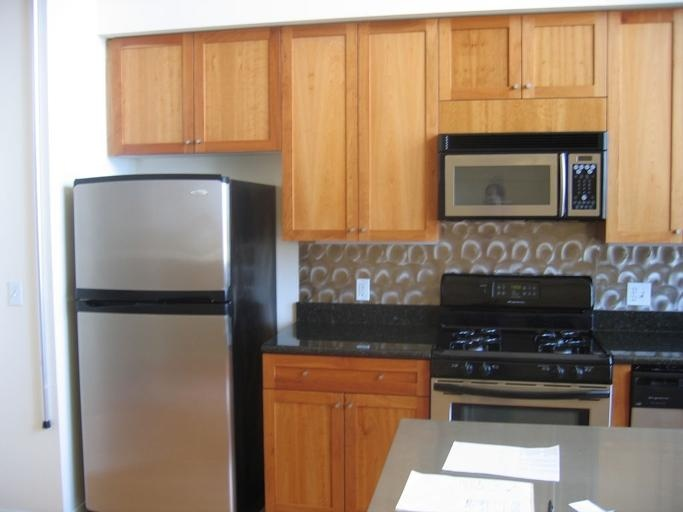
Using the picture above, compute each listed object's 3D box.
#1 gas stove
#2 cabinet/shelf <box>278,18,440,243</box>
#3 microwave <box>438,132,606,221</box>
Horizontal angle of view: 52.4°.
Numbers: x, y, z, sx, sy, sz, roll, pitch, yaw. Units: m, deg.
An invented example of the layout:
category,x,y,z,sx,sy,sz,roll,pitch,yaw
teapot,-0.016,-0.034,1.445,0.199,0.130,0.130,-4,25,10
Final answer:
category,x,y,z,sx,sy,sz,roll,pitch,yaw
gas stove,0.917,0.437,3.651,0.826,0.057,0.430,2,6,9
cabinet/shelf,0.092,-0.644,4.000,0.863,1.316,0.593,0,-10,0
microwave,0.986,-0.482,3.787,0.877,0.501,0.438,2,22,22
